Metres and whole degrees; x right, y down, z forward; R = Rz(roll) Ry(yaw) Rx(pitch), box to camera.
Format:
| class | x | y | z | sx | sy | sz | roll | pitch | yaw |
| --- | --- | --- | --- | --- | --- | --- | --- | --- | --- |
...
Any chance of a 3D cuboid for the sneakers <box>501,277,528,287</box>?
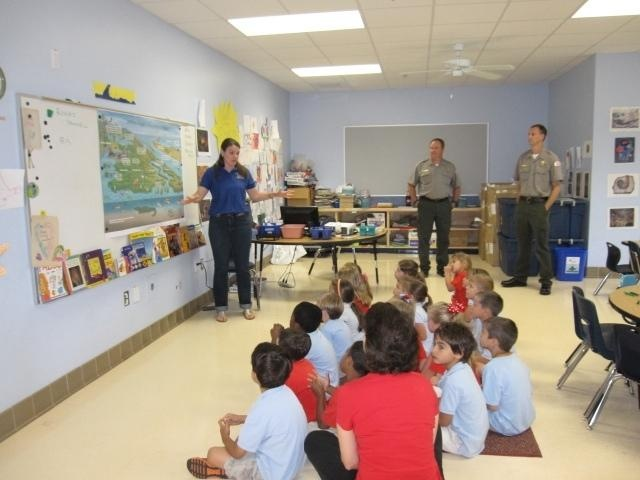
| class | x | y | z | sx | sy | sz | roll | pitch | yaw |
| --- | --- | --- | --- | --- | --- | --- | --- | --- | --- |
| sneakers | 2.700 | 0.585 | 6.517 | 0.376 | 0.174 | 0.140 | 4 | 1 | 2 |

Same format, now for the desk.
| class | x | y | z | sx | sy | sz | roll | pitch | yaw |
| --- | --- | --- | --- | --- | --- | --- | --- | --- | --- |
| desk | -0.130 | 0.226 | 6.045 | 1.237 | 0.600 | 1.285 | 0 | 4 | -1 |

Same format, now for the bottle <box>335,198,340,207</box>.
| class | x | y | z | sx | sy | sz | roll | pitch | yaw |
| --- | --- | --- | --- | --- | --- | --- | --- | --- | --- |
| bottle | 0.315 | -0.689 | 8.892 | 0.072 | 0.166 | 0.114 | -3 | 12 | -9 |

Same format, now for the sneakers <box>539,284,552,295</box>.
| class | x | y | z | sx | sy | sz | roll | pitch | yaw |
| --- | --- | --- | --- | --- | --- | --- | --- | --- | --- |
| sneakers | 2.940 | 0.645 | 6.049 | 0.162 | 0.129 | 0.135 | 0 | 12 | 3 |

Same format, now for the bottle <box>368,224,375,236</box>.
| class | x | y | z | sx | sy | sz | roll | pitch | yaw |
| --- | --- | --- | --- | --- | --- | --- | --- | --- | --- |
| bottle | 0.720 | -0.128 | 6.273 | 0.131 | 0.154 | 0.136 | 0 | -3 | -1 |

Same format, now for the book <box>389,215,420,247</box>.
| class | x | y | z | sx | sy | sz | roll | pitch | yaw |
| --- | --- | --- | --- | --- | --- | --- | --- | --- | --- |
| book | 1.617 | -0.173 | 8.973 | 0.678 | 0.707 | 0.513 | -1 | 1 | 12 |

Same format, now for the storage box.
| class | x | y | z | sx | sy | sz | roll | pitch | yaw |
| --- | --- | --- | --- | --- | --- | --- | --- | --- | --- |
| storage box | 3.231 | -0.201 | 7.421 | 1.490 | 1.085 | 1.041 | 1 | 6 | 4 |
